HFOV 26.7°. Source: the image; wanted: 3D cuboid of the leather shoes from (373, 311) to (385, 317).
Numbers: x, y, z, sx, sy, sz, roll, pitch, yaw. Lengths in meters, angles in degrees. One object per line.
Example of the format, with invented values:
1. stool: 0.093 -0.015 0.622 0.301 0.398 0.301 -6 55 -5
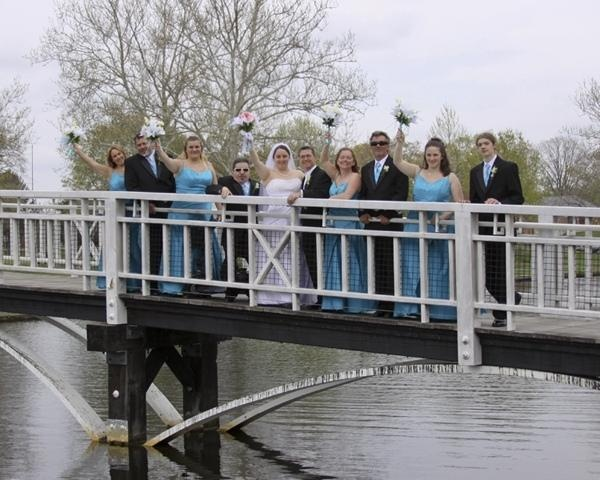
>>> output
1. leather shoes: 1.026 0.969 16.629 0.178 0.063 0.115 -3 7 -18

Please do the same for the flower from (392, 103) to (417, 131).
1. flower: 1.314 -1.565 16.250 0.257 0.296 0.327 -1 6 -5

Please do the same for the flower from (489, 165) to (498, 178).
1. flower: 2.525 -0.891 16.749 0.037 0.124 0.079 15 6 -44

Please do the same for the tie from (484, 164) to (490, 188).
1. tie: 2.447 -0.862 16.840 0.046 0.226 0.147 5 6 8

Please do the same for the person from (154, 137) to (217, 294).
1. person: -1.620 -0.354 18.276 1.054 2.394 0.534 1 -20 -7

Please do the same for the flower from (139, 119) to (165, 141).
1. flower: -2.104 -1.533 17.835 0.283 0.278 0.305 -7 16 -11

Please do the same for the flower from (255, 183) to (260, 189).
1. flower: -0.644 -0.768 18.253 0.060 0.069 0.027 -3 -9 40

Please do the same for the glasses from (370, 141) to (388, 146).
1. glasses: 1.018 -1.253 16.785 0.234 0.072 0.126 -1 6 -2

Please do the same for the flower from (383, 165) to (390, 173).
1. flower: 1.117 -0.928 16.910 0.077 0.091 0.030 -1 -16 26

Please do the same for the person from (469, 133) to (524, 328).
1. person: 2.524 -0.170 16.560 0.687 2.406 1.452 0 5 8

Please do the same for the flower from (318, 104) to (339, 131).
1. flower: 0.375 -1.628 17.129 0.266 0.322 0.394 -2 6 -10

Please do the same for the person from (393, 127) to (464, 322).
1. person: 1.633 -0.199 16.446 0.904 2.467 1.013 0 5 13

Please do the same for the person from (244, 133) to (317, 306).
1. person: -0.279 -0.216 17.385 0.853 2.207 1.364 -1 5 -7

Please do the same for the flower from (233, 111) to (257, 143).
1. flower: -0.724 -1.498 17.122 0.316 0.428 0.337 -5 -7 -12
